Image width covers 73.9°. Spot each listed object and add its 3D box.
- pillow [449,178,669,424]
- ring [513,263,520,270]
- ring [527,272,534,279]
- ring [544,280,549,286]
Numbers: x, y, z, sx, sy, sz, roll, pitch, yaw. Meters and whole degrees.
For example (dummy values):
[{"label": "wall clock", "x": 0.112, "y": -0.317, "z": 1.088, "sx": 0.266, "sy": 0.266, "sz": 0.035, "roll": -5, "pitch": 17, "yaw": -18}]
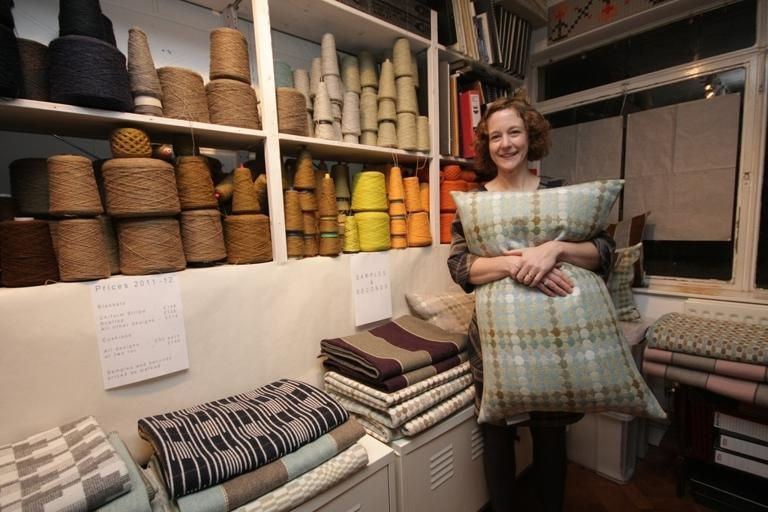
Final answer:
[{"label": "pillow", "x": 0.709, "y": 0.206, "z": 2.208, "sx": 0.977, "sy": 1.002, "sz": 0.321, "roll": -4, "pitch": -7, "yaw": 6}, {"label": "ring", "x": 0.577, "y": 0.041, "z": 2.208, "sx": 0.009, "sy": 0.031, "sz": 0.007, "roll": 34, "pitch": 24, "yaw": -38}, {"label": "ring", "x": 0.628, "y": 0.078, "z": 2.183, "sx": 0.025, "sy": 0.016, "sz": 0.023, "roll": 1, "pitch": 6, "yaw": 0}, {"label": "ring", "x": 0.696, "y": 0.113, "z": 2.197, "sx": 0.019, "sy": 0.017, "sz": 0.005, "roll": 7, "pitch": 13, "yaw": 30}]
